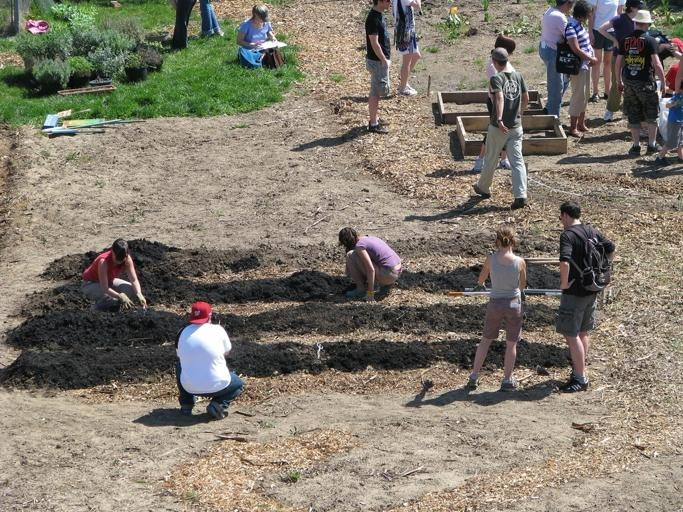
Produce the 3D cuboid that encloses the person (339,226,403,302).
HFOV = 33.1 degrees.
[{"bbox_3d":[0.438,0.105,17.891,1.043,1.085,0.837,6,12,25],"label":"person"}]

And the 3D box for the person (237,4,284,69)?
[{"bbox_3d":[-1.881,-4.921,25.356,0.975,1.399,1.457,-12,34,-24],"label":"person"}]

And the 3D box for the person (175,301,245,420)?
[{"bbox_3d":[-1.808,1.436,15.570,0.861,1.619,0.306,-6,14,-9],"label":"person"}]

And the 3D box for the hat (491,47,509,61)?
[{"bbox_3d":[2.584,-3.286,18.756,0.270,0.232,0.203,5,16,32],"label":"hat"}]

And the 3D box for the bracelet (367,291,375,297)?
[{"bbox_3d":[0.468,0.594,17.693,0.098,0.087,0.093,1,9,3],"label":"bracelet"}]

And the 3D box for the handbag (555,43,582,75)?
[{"bbox_3d":[4.171,-3.631,20.960,0.536,0.640,0.285,5,25,31],"label":"handbag"}]

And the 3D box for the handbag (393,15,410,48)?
[{"bbox_3d":[1.191,-4.522,23.036,0.313,0.735,0.322,1,14,19],"label":"handbag"}]

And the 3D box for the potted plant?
[{"bbox_3d":[-5.628,-4.346,25.034,2.609,1.067,2.769,-6,31,-16],"label":"potted plant"}]

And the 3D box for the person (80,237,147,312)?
[{"bbox_3d":[-3.460,0.448,17.403,0.725,1.440,1.230,-10,28,-31],"label":"person"}]

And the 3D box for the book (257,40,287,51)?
[{"bbox_3d":[-1.513,-4.591,24.934,0.455,0.102,0.305,1,34,1],"label":"book"}]

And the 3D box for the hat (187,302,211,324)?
[{"bbox_3d":[-1.906,0.739,15.575,0.232,0.176,0.330,4,26,-3],"label":"hat"}]

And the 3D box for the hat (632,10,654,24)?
[{"bbox_3d":[5.362,-4.229,20.350,0.397,0.160,0.439,14,19,17],"label":"hat"}]

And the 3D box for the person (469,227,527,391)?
[{"bbox_3d":[2.146,0.755,15.705,0.745,2.332,0.296,-1,14,9],"label":"person"}]

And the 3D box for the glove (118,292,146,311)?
[{"bbox_3d":[-3.191,0.687,17.235,0.316,0.283,0.107,6,-4,-13],"label":"glove"}]

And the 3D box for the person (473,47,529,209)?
[{"bbox_3d":[2.670,-2.109,19.292,0.777,2.774,0.782,2,15,21],"label":"person"}]
